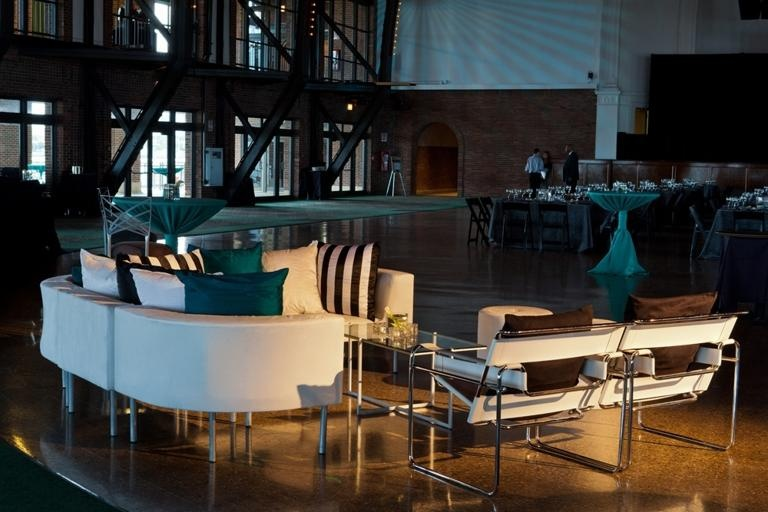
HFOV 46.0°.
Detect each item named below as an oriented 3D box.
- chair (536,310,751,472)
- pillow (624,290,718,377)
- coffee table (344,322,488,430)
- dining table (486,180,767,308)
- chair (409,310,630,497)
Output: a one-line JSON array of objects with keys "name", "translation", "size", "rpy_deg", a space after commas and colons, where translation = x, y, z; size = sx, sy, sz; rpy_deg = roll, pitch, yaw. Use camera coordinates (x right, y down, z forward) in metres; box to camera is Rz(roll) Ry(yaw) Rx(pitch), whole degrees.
[{"name": "chair", "translation": [2.051, 0.865, 7.331], "size": [1.686, 1.332, 1.230], "rpy_deg": [-2, 4, -38]}, {"name": "pillow", "translation": [2.202, 0.625, 6.918], "size": [0.631, 0.672, 0.285], "rpy_deg": [-4, 23, -17]}, {"name": "coffee table", "translation": [0.172, 0.842, 7.626], "size": [0.847, 0.628, 1.306], "rpy_deg": [-4, 8, -30]}, {"name": "dining table", "translation": [4.026, -0.587, 15.750], "size": [4.360, 1.210, 7.179], "rpy_deg": [0, 6, 6]}, {"name": "chair", "translation": [0.954, 0.863, 7.037], "size": [1.859, 1.442, 1.299], "rpy_deg": [0, 4, -34]}]
